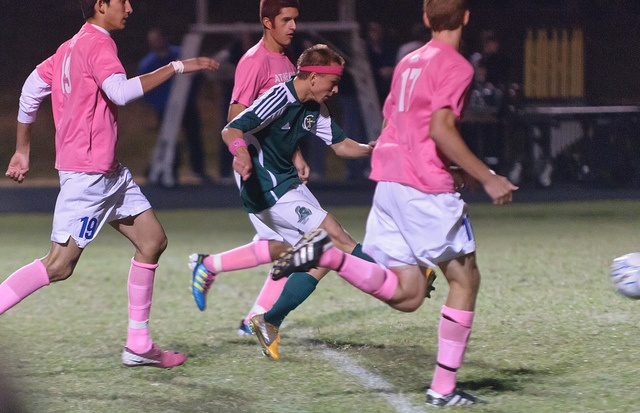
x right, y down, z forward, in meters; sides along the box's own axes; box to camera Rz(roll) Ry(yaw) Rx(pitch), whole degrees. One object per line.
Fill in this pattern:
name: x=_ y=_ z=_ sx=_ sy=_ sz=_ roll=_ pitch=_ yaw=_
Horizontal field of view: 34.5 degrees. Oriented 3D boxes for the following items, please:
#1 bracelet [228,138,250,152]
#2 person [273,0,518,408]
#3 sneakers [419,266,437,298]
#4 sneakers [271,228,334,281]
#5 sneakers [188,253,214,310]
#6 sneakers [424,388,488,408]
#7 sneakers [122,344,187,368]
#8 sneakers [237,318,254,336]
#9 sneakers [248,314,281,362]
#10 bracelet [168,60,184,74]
bracelet: x=-0.634 y=-0.467 z=7.819 sx=0.128 sy=0.110 sz=0.203 roll=-2 pitch=12 yaw=-5
person: x=0.717 y=-0.043 z=7.498 sx=1.387 sy=2.858 sz=0.746 roll=1 pitch=12 yaw=10
sneakers: x=0.837 y=0.572 z=7.893 sx=0.104 sy=0.283 sz=0.141 roll=3 pitch=-13 yaw=-1
sneakers: x=-0.110 y=0.341 z=7.526 sx=0.590 sy=0.217 sz=0.257 roll=-35 pitch=-5 yaw=3
sneakers: x=-1.010 y=0.613 z=8.858 sx=0.246 sy=0.501 sz=0.175 roll=-13 pitch=-4 yaw=22
sneakers: x=0.977 y=1.370 z=7.491 sx=0.384 sy=0.129 sz=0.132 roll=-2 pitch=1 yaw=-8
sneakers: x=-1.296 y=1.169 z=8.068 sx=0.511 sy=0.203 sz=0.178 roll=1 pitch=3 yaw=-11
sneakers: x=-0.633 y=0.998 z=8.553 sx=0.155 sy=0.139 sz=0.108 roll=-2 pitch=5 yaw=-38
sneakers: x=-0.396 y=0.980 z=7.909 sx=0.212 sy=0.410 sz=0.143 roll=-26 pitch=2 yaw=1
bracelet: x=-1.092 y=-1.049 z=7.814 sx=0.104 sy=0.046 sz=0.082 roll=36 pitch=42 yaw=25
